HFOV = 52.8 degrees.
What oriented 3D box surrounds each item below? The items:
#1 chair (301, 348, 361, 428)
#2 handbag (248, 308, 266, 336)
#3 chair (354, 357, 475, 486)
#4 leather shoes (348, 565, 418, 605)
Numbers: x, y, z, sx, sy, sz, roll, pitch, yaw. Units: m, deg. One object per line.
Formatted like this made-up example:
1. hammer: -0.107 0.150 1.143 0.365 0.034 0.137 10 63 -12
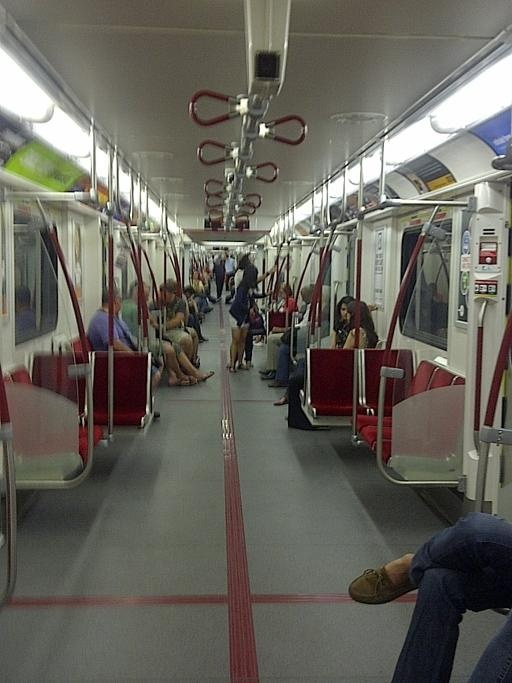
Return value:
1. chair: 0.748 0.445 5.170 0.483 0.580 0.780 1 5 -1
2. handbag: 0.042 -0.265 10.593 0.394 0.634 0.800 -3 -8 -4
3. chair: 1.047 0.248 3.564 0.609 0.905 1.313 1 0 5
4. leather shoes: 0.493 0.994 2.086 0.291 0.123 0.154 -11 47 8
